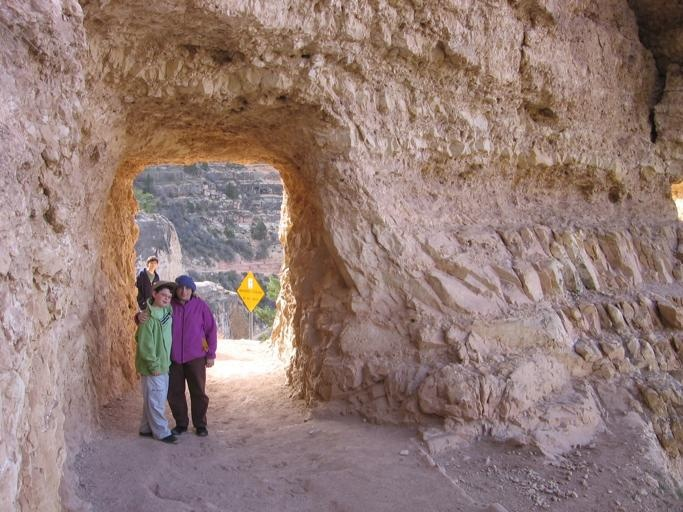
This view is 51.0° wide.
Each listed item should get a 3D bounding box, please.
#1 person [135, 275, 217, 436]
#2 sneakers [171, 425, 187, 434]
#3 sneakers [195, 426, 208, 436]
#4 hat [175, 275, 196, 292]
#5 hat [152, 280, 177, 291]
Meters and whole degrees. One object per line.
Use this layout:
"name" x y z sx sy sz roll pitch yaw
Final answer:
"person" -1.650 1.090 7.909 0.508 1.769 0.349 3 4 -21
"sneakers" -1.773 1.900 7.819 0.062 0.082 0.182 4 -19 19
"sneakers" -1.528 1.934 7.922 0.128 0.148 0.072 -1 1 17
"hat" -1.712 0.292 7.844 0.204 0.185 0.305 4 4 -13
"hat" -1.898 0.336 7.677 0.221 0.126 0.380 4 4 -10
